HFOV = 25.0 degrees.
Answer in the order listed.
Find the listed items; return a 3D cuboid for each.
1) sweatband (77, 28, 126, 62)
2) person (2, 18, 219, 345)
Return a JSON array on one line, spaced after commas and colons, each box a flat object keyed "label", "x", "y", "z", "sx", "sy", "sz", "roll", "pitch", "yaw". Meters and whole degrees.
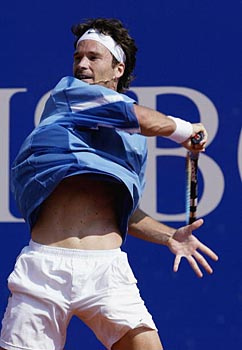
[{"label": "sweatband", "x": -0.084, "y": -0.587, "z": 2.455, "sx": 0.211, "sy": 0.136, "sz": 0.118, "roll": 7, "pitch": 14, "yaw": -2}, {"label": "person", "x": -0.037, "y": -0.006, "z": 2.238, "sx": 0.754, "sy": 1.255, "sz": 0.931, "roll": 11, "pitch": 14, "yaw": 8}]
